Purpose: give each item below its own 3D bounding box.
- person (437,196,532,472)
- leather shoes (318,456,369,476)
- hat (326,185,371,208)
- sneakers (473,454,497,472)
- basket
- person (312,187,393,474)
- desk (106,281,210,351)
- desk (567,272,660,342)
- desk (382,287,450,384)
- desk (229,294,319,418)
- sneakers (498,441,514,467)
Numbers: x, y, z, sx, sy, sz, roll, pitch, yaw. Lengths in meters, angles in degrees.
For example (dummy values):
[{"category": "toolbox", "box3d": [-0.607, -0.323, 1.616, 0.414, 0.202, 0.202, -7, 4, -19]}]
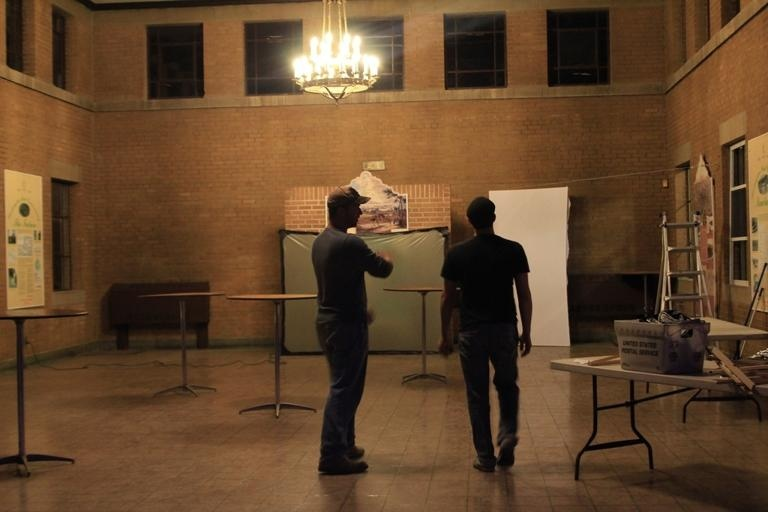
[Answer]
[{"category": "person", "box3d": [1.238, 0.966, 11.185, 1.098, 3.326, 0.621, -1, 10, 3]}, {"category": "leather shoes", "box3d": [-0.539, 2.570, 11.309, 0.691, 0.278, 0.224, -1, -2, -10]}, {"category": "hat", "box3d": [-0.490, -0.751, 11.429, 0.407, 0.199, 0.275, 0, 4, -11]}, {"category": "sneakers", "box3d": [1.240, 2.547, 11.238, 0.249, 0.217, 0.532, 0, -1, 4]}, {"category": "basket", "box3d": [3.167, 1.007, 10.500, 0.717, 0.621, 0.902, 2, -4, -31]}, {"category": "person", "box3d": [-0.432, 0.909, 11.342, 0.892, 3.472, 0.843, -2, 10, -2]}, {"category": "desk", "box3d": [-4.449, 1.191, 18.226, 1.439, 0.899, 0.447, -1, -8, -1]}, {"category": "desk", "box3d": [4.143, 0.879, 16.445, 1.339, 1.391, 0.744, -4, 2, 7]}, {"category": "desk", "box3d": [0.722, 1.306, 15.640, 1.459, 1.526, 1.433, -1, -1, 13]}, {"category": "desk", "box3d": [-2.116, 1.488, 14.251, 1.959, 2.039, 1.844, 1, -1, 0]}, {"category": "sneakers", "box3d": [1.490, 2.437, 11.266, 0.161, 0.166, 0.395, 3, -41, 2]}]
